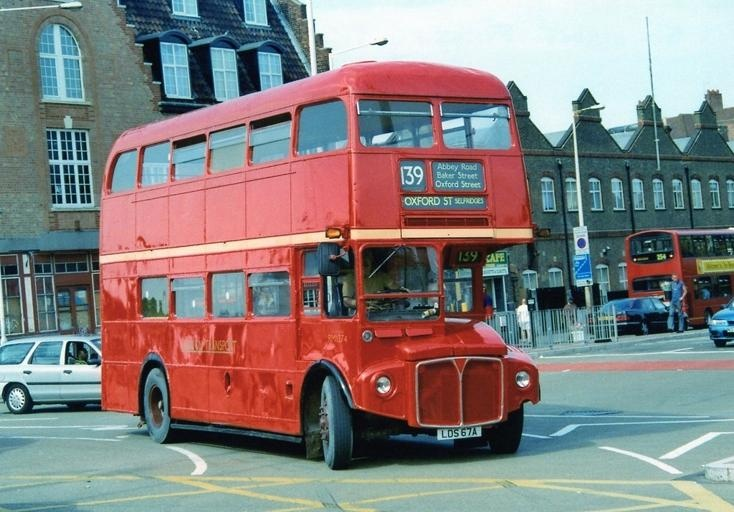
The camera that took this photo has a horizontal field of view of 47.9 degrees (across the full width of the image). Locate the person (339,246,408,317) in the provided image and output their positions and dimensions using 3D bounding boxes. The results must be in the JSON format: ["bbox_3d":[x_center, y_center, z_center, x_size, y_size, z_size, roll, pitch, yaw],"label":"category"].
[{"bbox_3d":[0.308,0.358,12.474,1.183,0.953,0.263,-2,0,-14],"label":"person"}]

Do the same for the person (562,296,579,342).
[{"bbox_3d":[8.522,2.654,34.262,0.606,1.934,0.529,-1,23,14],"label":"person"}]

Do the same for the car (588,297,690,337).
[{"bbox_3d":[12.845,2.927,40.578,5.553,1.370,2.448,-2,0,-38],"label":"car"}]
